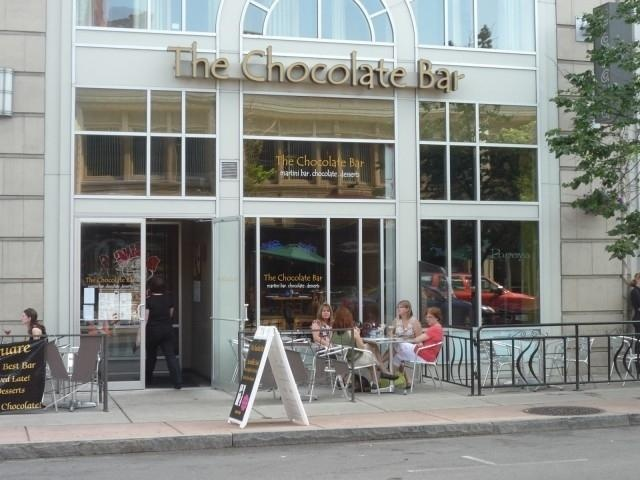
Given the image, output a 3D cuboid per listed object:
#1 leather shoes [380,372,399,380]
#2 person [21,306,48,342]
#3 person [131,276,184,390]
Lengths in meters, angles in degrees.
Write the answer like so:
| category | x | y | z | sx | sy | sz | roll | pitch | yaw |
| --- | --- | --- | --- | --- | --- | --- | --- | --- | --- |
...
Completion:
| category | x | y | z | sx | sy | sz | roll | pitch | yaw |
| --- | --- | --- | --- | --- | --- | --- | --- | --- | --- |
| leather shoes | 1.354 | 2.593 | 18.518 | 0.353 | 0.143 | 0.128 | -2 | -3 | 15 |
| person | -5.295 | 1.558 | 17.877 | 0.402 | 0.884 | 0.402 | -12 | -12 | -2 |
| person | -3.184 | 1.885 | 19.472 | 0.675 | 2.178 | 0.739 | -2 | -3 | -11 |
